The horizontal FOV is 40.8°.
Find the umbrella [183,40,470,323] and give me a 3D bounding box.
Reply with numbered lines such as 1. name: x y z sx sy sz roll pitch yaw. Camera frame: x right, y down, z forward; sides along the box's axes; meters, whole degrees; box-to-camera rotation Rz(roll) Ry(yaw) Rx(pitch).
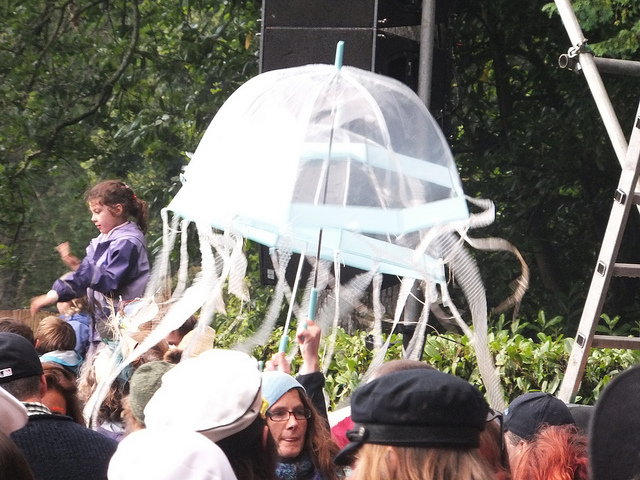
1. umbrella: 0.011 -0.282 5.416 1.634 1.685 1.593 -13 34 -35

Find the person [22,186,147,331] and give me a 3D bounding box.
1. person: -1.630 0.359 6.347 0.631 1.410 0.808 0 4 17

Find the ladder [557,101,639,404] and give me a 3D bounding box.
1. ladder: 1.691 0.127 5.054 0.304 1.632 0.714 10 -14 -33

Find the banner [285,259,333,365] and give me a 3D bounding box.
1. banner: -0.082 0.463 5.589 0.087 0.638 0.632 16 -8 4
